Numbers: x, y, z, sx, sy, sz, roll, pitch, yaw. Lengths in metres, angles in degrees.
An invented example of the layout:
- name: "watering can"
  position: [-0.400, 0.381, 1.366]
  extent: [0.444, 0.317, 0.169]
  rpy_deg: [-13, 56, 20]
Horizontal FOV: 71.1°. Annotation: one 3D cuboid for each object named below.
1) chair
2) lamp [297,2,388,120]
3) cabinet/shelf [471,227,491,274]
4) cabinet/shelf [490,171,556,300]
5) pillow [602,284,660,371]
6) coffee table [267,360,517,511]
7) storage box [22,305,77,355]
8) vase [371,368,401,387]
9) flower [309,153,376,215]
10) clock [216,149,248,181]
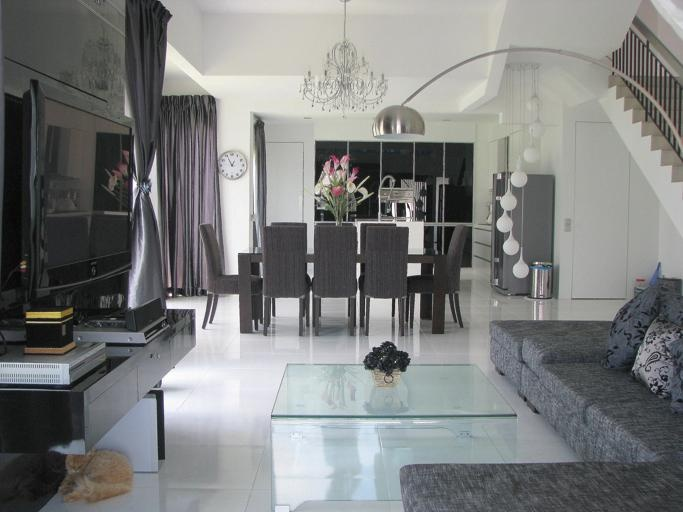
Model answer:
- name: "chair"
  position: [-0.169, 0.237, 5.573]
  extent: [3.024, 1.249, 0.920]
  rpy_deg: [0, 2, 0]
- name: "lamp"
  position: [0.022, -2.417, 6.411]
  extent: [1.189, 1.900, 1.263]
  rpy_deg: [0, 8, -3]
- name: "cabinet/shelf"
  position: [2.805, -0.137, 9.629]
  extent: [0.415, 0.866, 0.831]
  rpy_deg: [0, 5, -2]
- name: "cabinet/shelf"
  position: [2.979, -0.309, 8.119]
  extent: [1.201, 2.307, 0.948]
  rpy_deg: [-8, 2, 18]
- name: "pillow"
  position: [1.929, 0.497, 3.172]
  extent: [0.131, 0.516, 0.552]
  rpy_deg: [12, -25, 13]
- name: "coffee table"
  position: [0.268, 1.025, 2.798]
  extent: [1.272, 0.494, 0.889]
  rpy_deg: [0, 2, 0]
- name: "storage box"
  position: [-1.204, 0.302, 2.036]
  extent: [0.201, 0.210, 0.177]
  rpy_deg: [1, 0, 7]
- name: "vase"
  position: [0.271, 0.752, 2.946]
  extent: [0.129, 0.071, 0.108]
  rpy_deg: [1, -3, 4]
- name: "flower"
  position: [-0.042, -0.749, 5.874]
  extent: [0.537, 0.864, 0.701]
  rpy_deg: [0, 19, -10]
- name: "clock"
  position: [-1.718, -1.414, 7.447]
  extent: [0.451, 0.514, 0.064]
  rpy_deg: [0, 0, 1]
